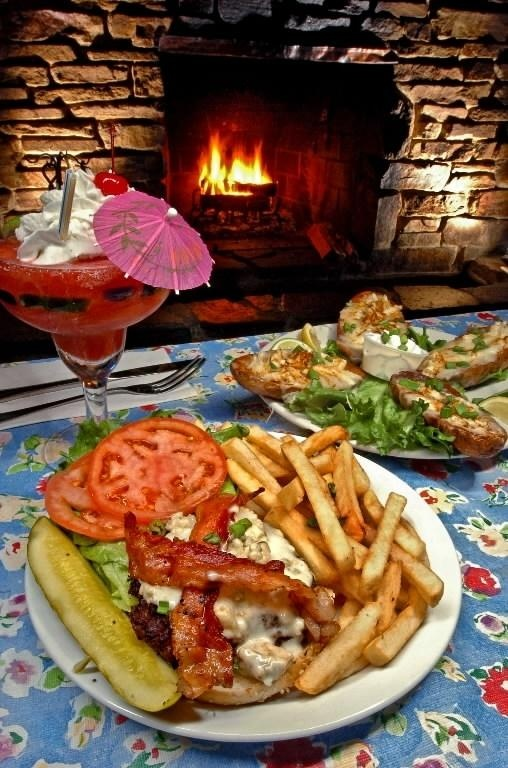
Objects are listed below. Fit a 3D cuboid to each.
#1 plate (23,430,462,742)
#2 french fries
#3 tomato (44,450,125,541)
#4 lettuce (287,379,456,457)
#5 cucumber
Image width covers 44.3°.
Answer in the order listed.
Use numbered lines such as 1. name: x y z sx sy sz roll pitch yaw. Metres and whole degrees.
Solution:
1. plate: -0.033 0.242 1.116 0.732 0.300 0.522 -9 18 -30
2. french fries: 0.203 0.274 1.192 0.410 0.315 0.498 -11 19 -36
3. tomato: -0.303 0.197 1.267 0.278 0.098 0.203 -3 16 -9
4. lettuce: 0.345 0.062 1.650 0.254 0.066 0.271 23 17 37
5. cucumber: -0.205 0.312 0.975 0.245 0.154 0.335 -8 15 -26
